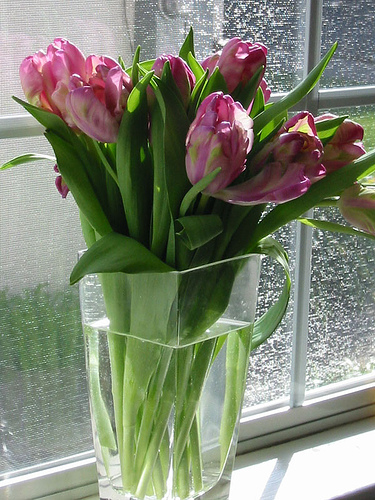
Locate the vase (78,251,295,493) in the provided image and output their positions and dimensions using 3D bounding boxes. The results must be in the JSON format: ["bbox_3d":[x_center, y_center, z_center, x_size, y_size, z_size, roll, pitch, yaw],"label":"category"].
[{"bbox_3d":[-0.003,0.053,0.526,0.219,0.356,0.200,-3,19,-11],"label":"vase"}]
